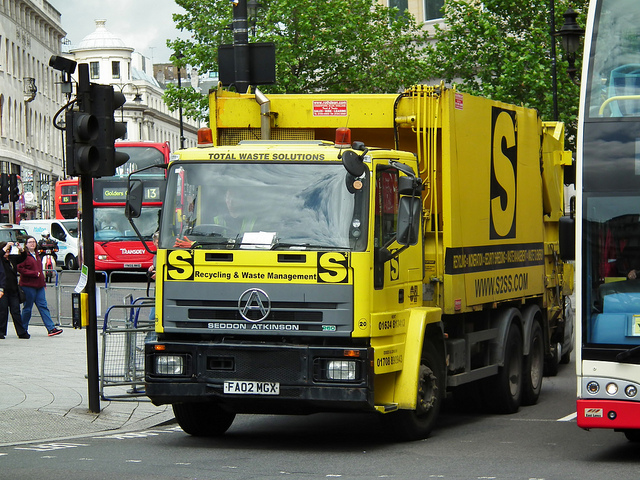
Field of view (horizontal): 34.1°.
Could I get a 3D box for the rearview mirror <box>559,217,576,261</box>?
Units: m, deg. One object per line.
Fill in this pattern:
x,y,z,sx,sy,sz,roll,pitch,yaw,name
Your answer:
2.497,-0.011,10.670,0.146,0.430,0.321,-1,1,11,rearview mirror

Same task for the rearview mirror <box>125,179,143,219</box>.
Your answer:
-2.085,-0.476,11.733,0.187,0.369,0.496,-2,0,-9,rearview mirror

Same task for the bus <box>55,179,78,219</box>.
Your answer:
-11.572,-1.858,47.660,0.937,1.573,1.631,-2,0,-12,bus

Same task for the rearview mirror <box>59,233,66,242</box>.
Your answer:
-10.823,-0.116,43.951,0.402,0.318,0.031,-1,1,37,rearview mirror

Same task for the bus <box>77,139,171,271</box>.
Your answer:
-6.849,-2.163,38.702,3.213,4.972,9.597,-1,15,-7,bus

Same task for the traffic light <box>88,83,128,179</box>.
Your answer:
-2.708,-1.340,13.159,0.578,1.142,0.434,1,-2,-38,traffic light

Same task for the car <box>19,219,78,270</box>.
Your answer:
-11.203,0.094,44.768,1.756,1.887,3.910,1,-2,-28,car

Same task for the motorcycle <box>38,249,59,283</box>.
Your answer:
-9.585,0.745,36.929,0.755,1.094,1.868,-1,5,-16,motorcycle

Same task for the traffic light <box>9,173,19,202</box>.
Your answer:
-10.105,-1.772,34.519,0.248,0.840,1.569,-2,0,-16,traffic light

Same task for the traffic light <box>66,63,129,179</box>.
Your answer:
-2.775,-1.474,12.934,0.804,1.216,0.562,-2,1,-26,traffic light
